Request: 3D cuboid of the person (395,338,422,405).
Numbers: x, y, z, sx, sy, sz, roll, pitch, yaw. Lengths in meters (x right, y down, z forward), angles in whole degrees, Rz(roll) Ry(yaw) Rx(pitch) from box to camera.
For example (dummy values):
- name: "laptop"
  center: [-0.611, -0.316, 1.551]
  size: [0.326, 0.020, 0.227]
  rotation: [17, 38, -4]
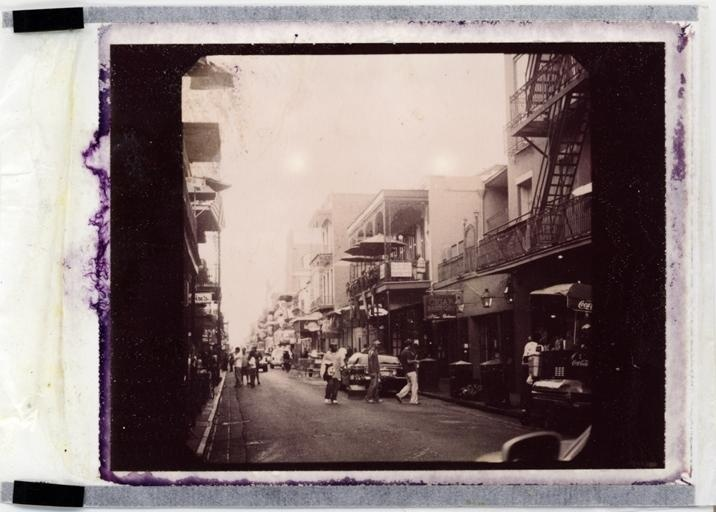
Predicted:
- name: "person"
  center: [0.662, 1.568, 10.400]
  size: [0.291, 0.872, 0.524]
  rotation: [1, 9, 3]

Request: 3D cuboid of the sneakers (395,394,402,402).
- name: "sneakers"
  center: [0.551, 1.914, 10.647]
  size: [0.048, 0.128, 0.042]
  rotation: [-11, 4, -20]

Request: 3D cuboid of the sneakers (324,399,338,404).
- name: "sneakers"
  center: [-0.397, 2.064, 11.217]
  size: [0.203, 0.095, 0.070]
  rotation: [0, 2, -36]
